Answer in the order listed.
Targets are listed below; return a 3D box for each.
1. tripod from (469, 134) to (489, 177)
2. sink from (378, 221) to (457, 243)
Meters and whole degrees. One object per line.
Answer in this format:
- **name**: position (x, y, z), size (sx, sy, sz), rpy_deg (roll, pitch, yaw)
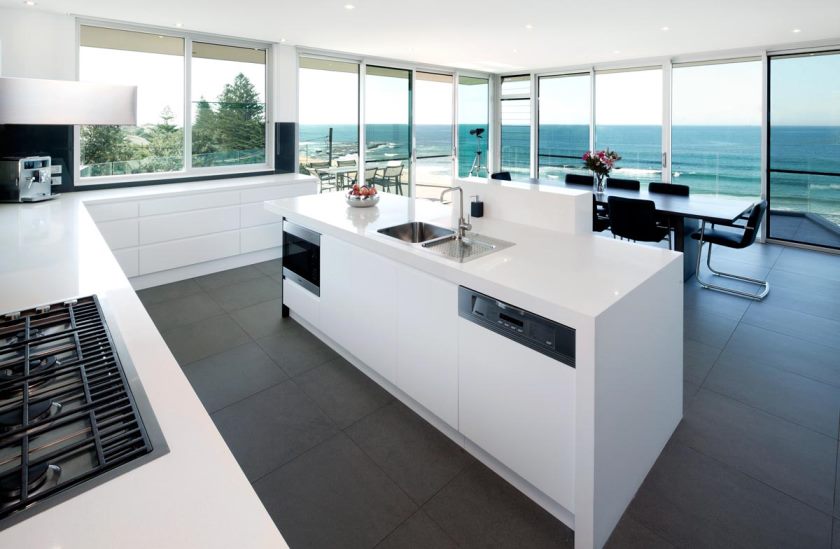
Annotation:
- **tripod**: position (1.197, -2.511, 10.686), size (0.123, 0.945, 0.570), rpy_deg (14, 23, 38)
- **sink**: position (-0.074, -0.340, 4.267), size (0.365, 0.133, 0.290), rpy_deg (-11, 18, -31)
